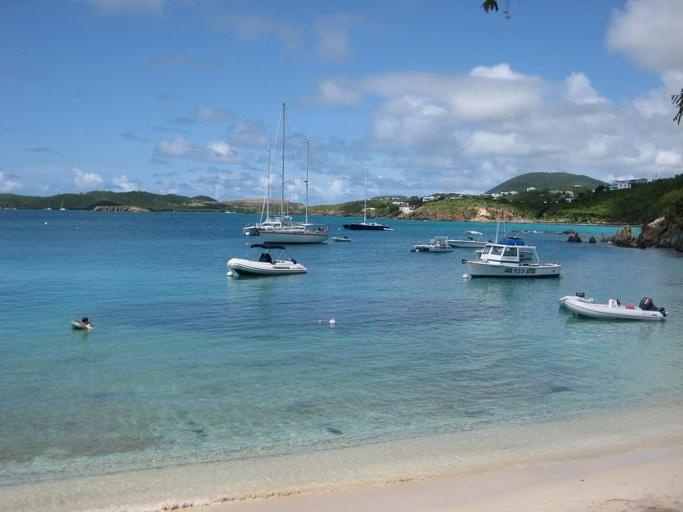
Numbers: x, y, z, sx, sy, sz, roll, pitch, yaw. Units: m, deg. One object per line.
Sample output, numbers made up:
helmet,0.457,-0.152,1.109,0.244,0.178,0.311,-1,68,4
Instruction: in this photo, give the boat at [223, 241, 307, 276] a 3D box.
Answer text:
boat,-8.817,0.494,72.312,9.077,2.930,5.371,-3,11,-41

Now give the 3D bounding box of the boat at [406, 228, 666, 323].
boat,22.268,2.539,64.330,12.323,4.395,33.420,-1,12,-8
